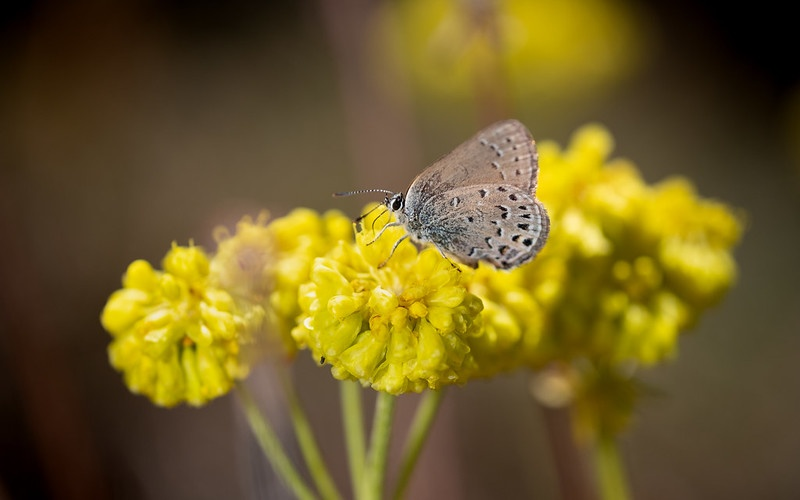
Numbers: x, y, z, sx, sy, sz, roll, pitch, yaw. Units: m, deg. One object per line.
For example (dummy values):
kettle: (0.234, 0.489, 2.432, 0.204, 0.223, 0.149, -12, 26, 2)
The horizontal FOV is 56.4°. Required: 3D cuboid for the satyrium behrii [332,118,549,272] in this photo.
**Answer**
satyrium behrii: (0.048, -0.036, 0.671, 0.149, 0.139, 0.114, -1, 92, 4)
